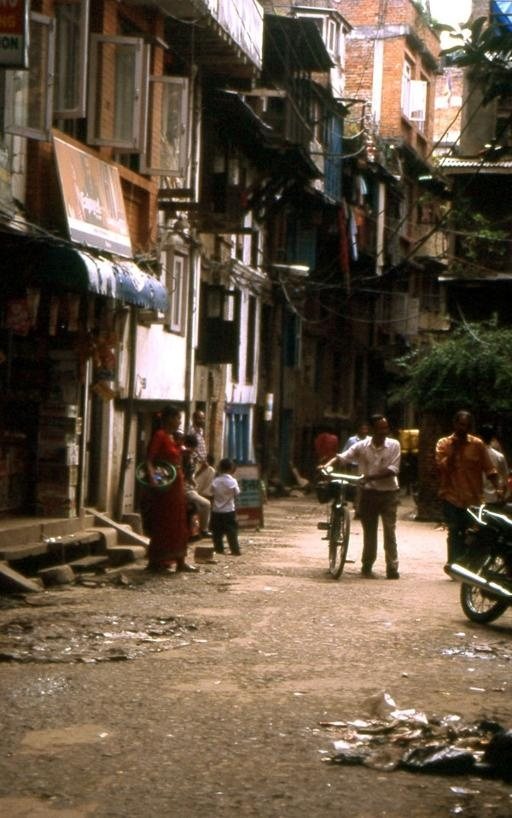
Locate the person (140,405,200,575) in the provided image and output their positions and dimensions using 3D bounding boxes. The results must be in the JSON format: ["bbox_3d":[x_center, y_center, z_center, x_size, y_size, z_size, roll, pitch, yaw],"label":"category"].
[{"bbox_3d":[-0.929,0.808,11.388,0.424,1.675,0.674,-1,-5,43],"label":"person"}]

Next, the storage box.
[{"bbox_3d":[-2.201,0.380,12.435,0.449,1.623,0.352,3,-3,-19],"label":"storage box"}]

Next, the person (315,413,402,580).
[{"bbox_3d":[1.138,0.896,11.715,0.884,1.643,0.738,0,-1,-29],"label":"person"}]
